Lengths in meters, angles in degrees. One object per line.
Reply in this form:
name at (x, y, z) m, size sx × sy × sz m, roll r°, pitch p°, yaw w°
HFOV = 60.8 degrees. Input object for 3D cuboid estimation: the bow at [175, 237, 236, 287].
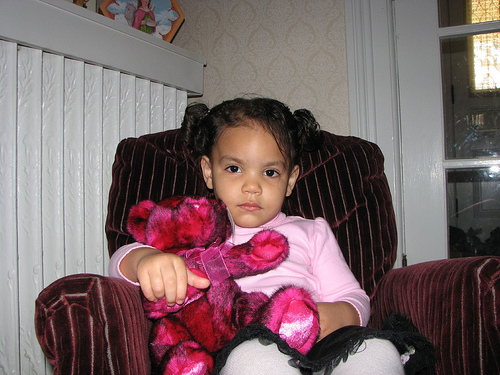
bow at (-0.125, 0.199, 1.122) m, size 0.119 × 0.130 × 0.040 m, roll -17°, pitch -15°, yaw -28°

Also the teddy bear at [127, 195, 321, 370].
teddy bear at (-0.067, 0.234, 1.101) m, size 0.465 × 0.401 × 0.277 m, roll -2°, pitch -1°, yaw -19°
